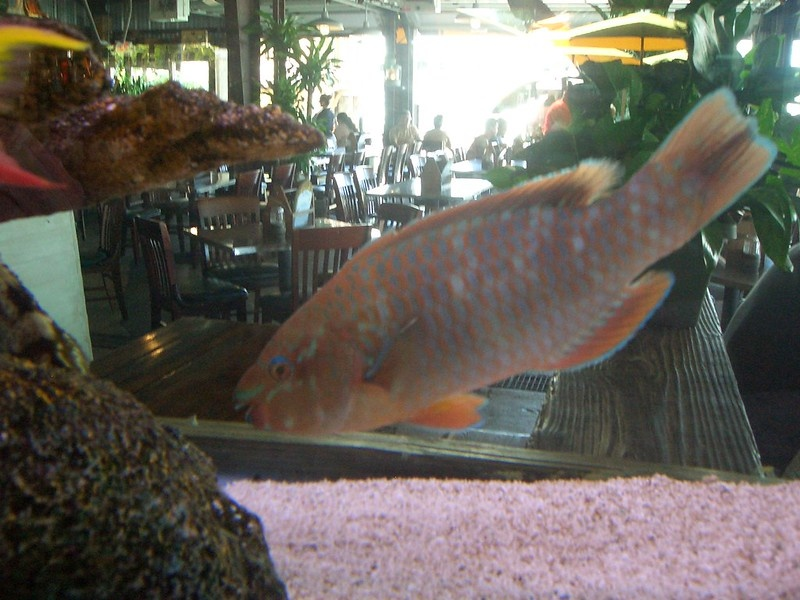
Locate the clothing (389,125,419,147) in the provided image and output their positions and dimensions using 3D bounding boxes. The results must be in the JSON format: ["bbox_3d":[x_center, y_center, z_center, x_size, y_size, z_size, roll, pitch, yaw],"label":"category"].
[{"bbox_3d":[0.043,-2.049,8.630,0.278,0.217,0.423,-1,16,-5],"label":"clothing"}]

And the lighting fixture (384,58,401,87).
[{"bbox_3d":[-0.140,-4.248,12.731,0.326,0.547,0.376,1,12,3],"label":"lighting fixture"}]
